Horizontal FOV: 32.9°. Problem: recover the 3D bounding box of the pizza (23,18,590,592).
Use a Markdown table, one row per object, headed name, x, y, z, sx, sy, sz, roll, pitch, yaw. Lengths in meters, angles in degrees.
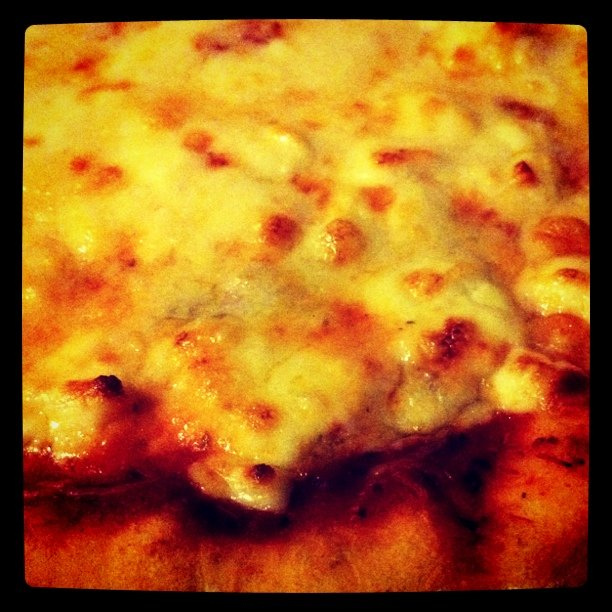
| name | x | y | z | sx | sy | sz | roll | pitch | yaw |
| --- | --- | --- | --- | --- | --- | --- | --- | --- | --- |
| pizza | 0.001 | -0.004 | 1.279 | 0.701 | 0.228 | 0.674 | 0 | 71 | 1 |
